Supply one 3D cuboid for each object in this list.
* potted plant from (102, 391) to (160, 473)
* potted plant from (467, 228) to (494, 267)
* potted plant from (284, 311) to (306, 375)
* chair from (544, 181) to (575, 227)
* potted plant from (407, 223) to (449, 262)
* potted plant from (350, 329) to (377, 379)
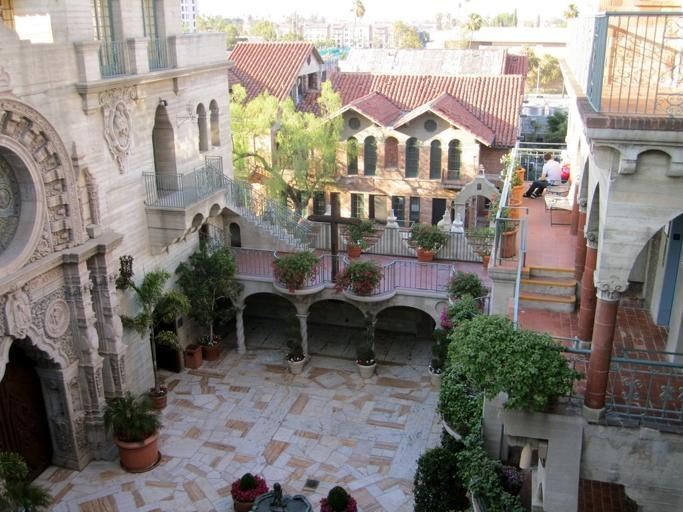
[{"bbox_3d":[-6.328,5.350,16.880,1.291,1.881,1.352,-11,36,-18],"label":"potted plant"},{"bbox_3d":[5.678,-0.459,22.990,1.224,1.780,0.740,-1,-2,22],"label":"potted plant"},{"bbox_3d":[-1.732,3.354,21.735,0.729,2.150,0.921,0,14,-10],"label":"potted plant"},{"bbox_3d":[7.281,-1.688,18.947,0.529,0.661,1.659,1,30,16],"label":"chair"},{"bbox_3d":[3.601,-0.493,23.447,1.411,1.485,0.518,3,13,5],"label":"potted plant"},{"bbox_3d":[0.896,3.904,22.113,0.938,2.386,0.975,-18,30,-36],"label":"potted plant"}]
